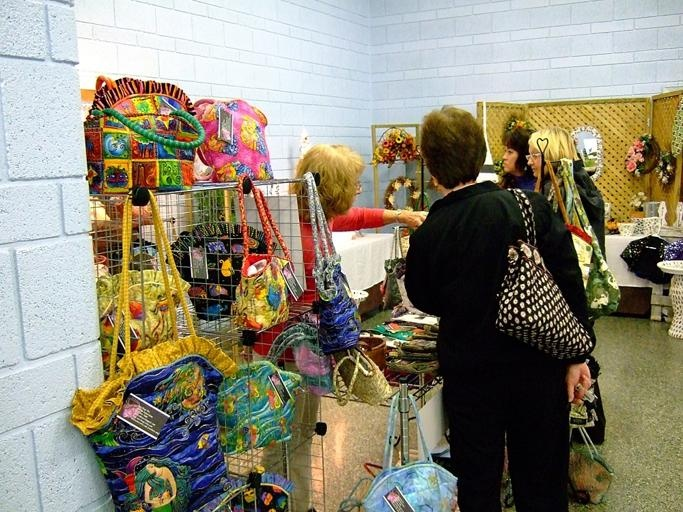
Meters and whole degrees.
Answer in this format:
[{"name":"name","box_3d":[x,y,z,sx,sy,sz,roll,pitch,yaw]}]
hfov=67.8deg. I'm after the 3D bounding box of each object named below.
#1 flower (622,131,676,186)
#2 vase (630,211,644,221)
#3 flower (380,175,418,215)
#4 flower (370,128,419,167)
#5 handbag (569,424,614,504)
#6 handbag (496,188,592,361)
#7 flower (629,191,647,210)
[{"name":"flower","box_3d":[3.643,-1.129,5.954,0.260,0.605,0.652,-6,9,-17]},{"name":"vase","box_3d":[3.485,-0.489,6.016,0.144,0.119,0.141,-2,-2,-29]},{"name":"flower","box_3d":[0.784,-0.866,7.039,0.660,0.757,0.297,-2,5,-6]},{"name":"flower","box_3d":[0.604,-1.423,6.425,0.581,0.284,0.480,-5,15,34]},{"name":"handbag","box_3d":[1.389,1.207,2.894,0.181,0.408,0.289,-21,-8,12]},{"name":"handbag","box_3d":[0.711,0.087,1.777,0.307,0.624,0.334,1,9,26]},{"name":"flower","box_3d":[3.606,-0.672,6.183,0.176,0.222,0.166,2,10,30]}]
